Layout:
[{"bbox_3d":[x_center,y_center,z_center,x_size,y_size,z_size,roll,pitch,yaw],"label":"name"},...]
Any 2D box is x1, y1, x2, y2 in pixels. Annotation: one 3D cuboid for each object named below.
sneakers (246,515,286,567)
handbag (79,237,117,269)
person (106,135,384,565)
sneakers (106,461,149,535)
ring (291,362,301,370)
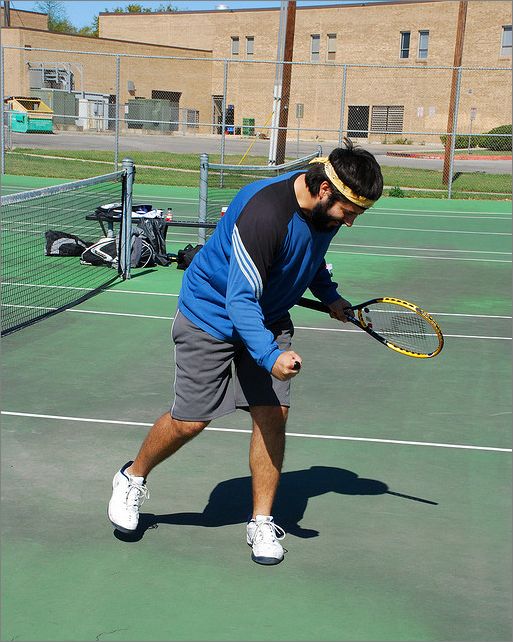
[{"bbox_3d":[0.043,0.928,2.746,0.168,0.126,0.339,2,3,-8],"label":"sneakers"},{"bbox_3d":[-2.314,-1.033,9.533,0.656,0.224,0.476,-5,23,25],"label":"handbag"},{"bbox_3d":[0.046,0.143,2.676,0.930,1.776,0.888,13,15,37],"label":"person"},{"bbox_3d":[-0.547,0.766,2.807,0.152,0.153,0.346,30,18,-28],"label":"sneakers"},{"bbox_3d":[0.135,0.152,2.118,0.023,0.016,0.032,-46,41,-18],"label":"ring"}]
